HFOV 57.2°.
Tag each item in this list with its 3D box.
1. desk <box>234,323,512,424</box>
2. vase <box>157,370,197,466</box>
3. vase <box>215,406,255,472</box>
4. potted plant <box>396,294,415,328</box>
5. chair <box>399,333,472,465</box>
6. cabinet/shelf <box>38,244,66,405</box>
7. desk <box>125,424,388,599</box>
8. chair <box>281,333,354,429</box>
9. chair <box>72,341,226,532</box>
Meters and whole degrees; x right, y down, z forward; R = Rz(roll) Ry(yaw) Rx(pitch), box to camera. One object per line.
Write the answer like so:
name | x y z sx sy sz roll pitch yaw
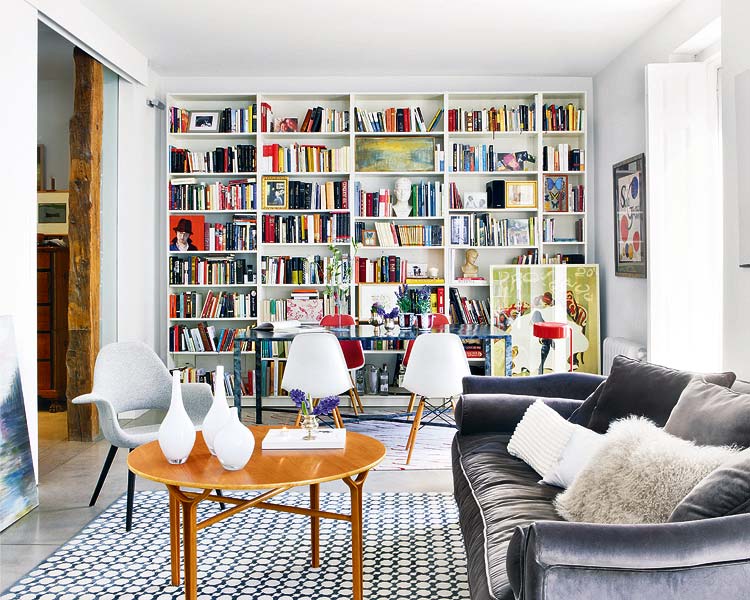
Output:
desk | -0.045 0.682 5.488 2.332 1.095 0.873 0 3 15
vase | -0.935 0.551 3.226 0.159 0.402 0.253 -3 3 -19
vase | -0.631 0.630 3.069 0.229 0.337 0.241 0 -9 -2
potted plant | 0.230 0.081 5.366 0.123 0.244 0.293 -2 3 2
chair | 0.386 0.670 4.922 0.573 0.910 0.559 1 -10 0
cabinet/shelf | -3.042 0.261 6.501 0.320 1.508 0.169 -3 3 -23
desk | -0.565 1.041 3.278 1.210 0.716 0.727 -2 3 0
chair | -0.366 0.606 4.642 0.424 0.696 0.491 -2 0 -8
chair | -1.367 0.776 4.142 0.706 1.002 0.842 -1 0 38
